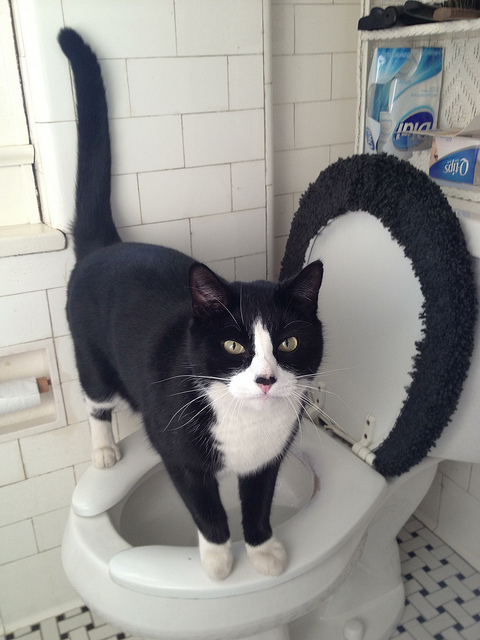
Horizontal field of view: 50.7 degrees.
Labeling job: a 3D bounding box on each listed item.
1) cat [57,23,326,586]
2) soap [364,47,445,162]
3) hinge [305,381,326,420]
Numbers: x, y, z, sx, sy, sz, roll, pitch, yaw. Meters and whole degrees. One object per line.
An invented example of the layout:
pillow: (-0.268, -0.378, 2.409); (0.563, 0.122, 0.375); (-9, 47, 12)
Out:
cat: (-0.127, -0.003, 0.855); (0.197, 0.712, 0.706); (-12, 24, -35)
soap: (0.336, -0.421, 1.022); (0.130, 0.232, 0.075); (-12, 28, -19)
hinge: (0.154, 0.161, 0.987); (0.017, 0.057, 0.039); (25, 16, 10)
